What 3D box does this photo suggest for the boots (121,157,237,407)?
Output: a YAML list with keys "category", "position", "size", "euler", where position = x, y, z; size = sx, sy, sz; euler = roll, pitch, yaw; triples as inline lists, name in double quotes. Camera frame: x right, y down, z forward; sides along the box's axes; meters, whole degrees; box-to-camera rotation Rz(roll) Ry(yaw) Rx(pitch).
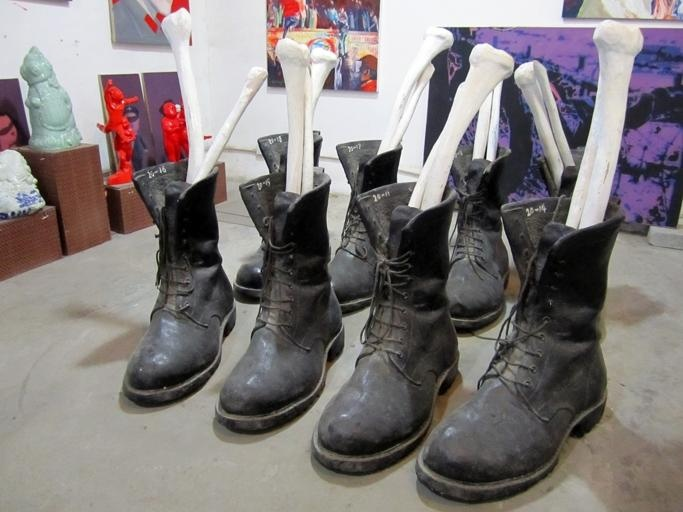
- category: "boots"
  position: [-0.520, 0.073, 1.556]
  size: [0.274, 0.593, 0.654]
  euler: [3, 23, 1]
